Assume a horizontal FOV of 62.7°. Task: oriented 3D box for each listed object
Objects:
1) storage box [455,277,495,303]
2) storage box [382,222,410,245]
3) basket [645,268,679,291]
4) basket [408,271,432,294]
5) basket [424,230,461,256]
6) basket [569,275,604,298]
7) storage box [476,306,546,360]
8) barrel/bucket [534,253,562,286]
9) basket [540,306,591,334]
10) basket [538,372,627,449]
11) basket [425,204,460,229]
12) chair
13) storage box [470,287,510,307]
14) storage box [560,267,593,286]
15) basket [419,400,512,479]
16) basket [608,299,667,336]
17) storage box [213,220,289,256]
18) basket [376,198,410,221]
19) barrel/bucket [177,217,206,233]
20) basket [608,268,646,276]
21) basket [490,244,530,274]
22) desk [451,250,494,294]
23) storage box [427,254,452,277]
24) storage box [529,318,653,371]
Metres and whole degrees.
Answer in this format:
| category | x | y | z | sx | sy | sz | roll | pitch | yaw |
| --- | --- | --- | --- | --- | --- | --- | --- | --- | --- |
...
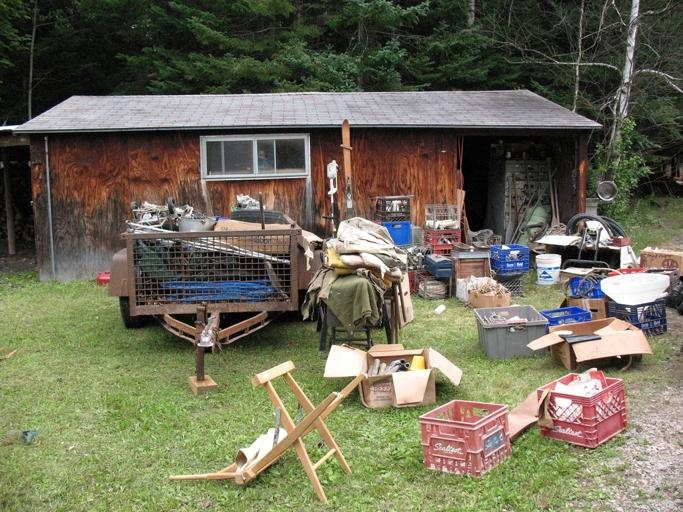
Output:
| category | x | y | z | sx | sy | sz | roll | pitch | yaw |
| --- | --- | --- | --- | --- | --- | --- | --- | --- | --- |
| storage box | 2.083 | 0.510 | 9.115 | 0.435 | 0.305 | 0.446 | -1 | 0 | -3 |
| storage box | 0.986 | -0.416 | 10.260 | 0.425 | 0.431 | 0.434 | -1 | 2 | -8 |
| basket | 4.866 | 0.308 | 8.401 | 0.440 | 0.294 | 0.448 | 0 | 4 | 13 |
| basket | 1.330 | 0.461 | 9.817 | 0.379 | 0.374 | 0.378 | 0 | -2 | -35 |
| basket | 1.827 | -0.258 | 10.328 | 0.489 | 0.317 | 0.491 | -1 | 1 | -22 |
| basket | 3.423 | 0.458 | 7.967 | 0.435 | 0.450 | 0.291 | 2 | -13 | 38 |
| storage box | 1.996 | 0.891 | 6.785 | 0.797 | 0.357 | 0.596 | -4 | 14 | -4 |
| barrel/bucket | 3.776 | 0.265 | 10.342 | 0.457 | 0.489 | 0.442 | -1 | 4 | 0 |
| basket | 2.730 | 0.749 | 6.917 | 0.446 | 0.152 | 0.300 | -9 | 12 | -18 |
| basket | 2.265 | 1.407 | 4.927 | 0.546 | 0.254 | 0.544 | 1 | -33 | -49 |
| basket | 1.930 | -0.764 | 10.812 | 0.656 | 0.413 | 1.087 | -1 | 9 | 9 |
| chair | -0.494 | 1.336 | 4.789 | 1.679 | 1.024 | 0.795 | 3 | 2 | 18 |
| storage box | 2.239 | 0.647 | 8.371 | 0.318 | 0.143 | 0.328 | -3 | 7 | -21 |
| storage box | 3.809 | 0.285 | 9.154 | 0.413 | 0.263 | 0.419 | -3 | 2 | -10 |
| basket | 0.911 | 1.560 | 4.688 | 0.636 | 0.403 | 0.646 | -2 | -11 | 43 |
| basket | 3.750 | 0.832 | 7.060 | 0.552 | 0.372 | 0.575 | -7 | -22 | 20 |
| storage box | -1.008 | -0.216 | 6.754 | 0.605 | 0.193 | 0.626 | 3 | 9 | -7 |
| basket | 0.924 | -0.851 | 10.217 | 0.475 | 0.369 | 0.488 | 2 | 2 | 33 |
| barrel/bucket | -2.072 | -0.430 | 7.731 | 0.316 | 0.117 | 0.271 | -1 | 5 | 2 |
| basket | 4.063 | 0.226 | 8.061 | 0.470 | 0.096 | 0.255 | -3 | 0 | -8 |
| basket | 2.926 | 0.046 | 9.800 | 0.622 | 0.438 | 0.590 | -2 | 9 | 5 |
| desk | 2.184 | 0.246 | 9.614 | 0.621 | 0.892 | 0.637 | -1 | -2 | -1 |
| storage box | 1.646 | 0.170 | 9.555 | 0.307 | 0.301 | 0.504 | 2 | 5 | -8 |
| storage box | 2.737 | 0.950 | 6.126 | 0.874 | 0.307 | 0.744 | -10 | 20 | -2 |
